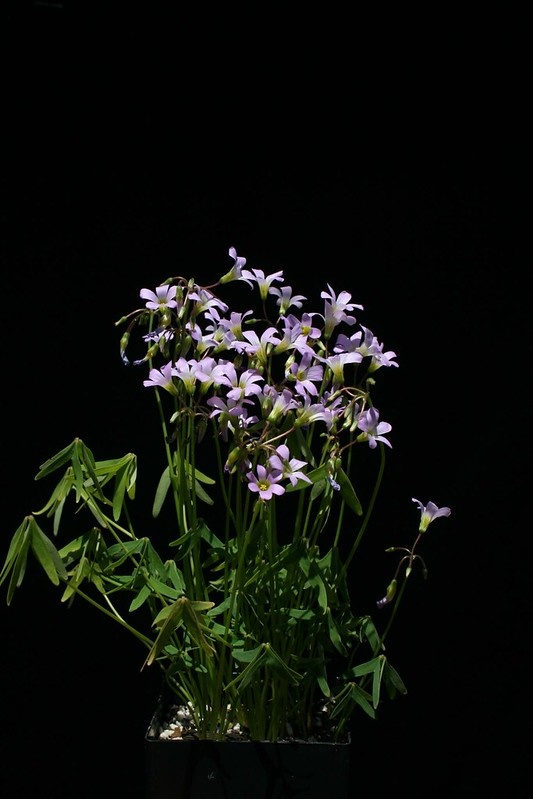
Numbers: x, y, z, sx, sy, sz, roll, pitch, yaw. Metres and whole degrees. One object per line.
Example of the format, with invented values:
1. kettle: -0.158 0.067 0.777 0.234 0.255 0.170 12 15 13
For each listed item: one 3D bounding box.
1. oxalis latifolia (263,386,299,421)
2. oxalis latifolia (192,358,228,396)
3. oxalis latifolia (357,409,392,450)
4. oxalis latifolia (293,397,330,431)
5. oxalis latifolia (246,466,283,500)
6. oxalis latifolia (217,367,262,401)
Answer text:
1. oxalis latifolia: 0.023 0.015 1.115 0.039 0.042 0.043 10 -18 19
2. oxalis latifolia: -0.079 -0.034 1.116 0.042 0.032 0.050 -10 57 -23
3. oxalis latifolia: 0.150 0.036 1.177 0.022 0.063 0.057 -6 -31 46
4. oxalis latifolia: 0.068 0.020 1.131 0.051 0.041 0.054 11 25 2
5. oxalis latifolia: -0.002 0.118 1.062 0.041 0.022 0.045 -20 61 -19
6. oxalis latifolia: -0.033 -0.013 1.101 0.044 0.022 0.050 -8 43 -21
